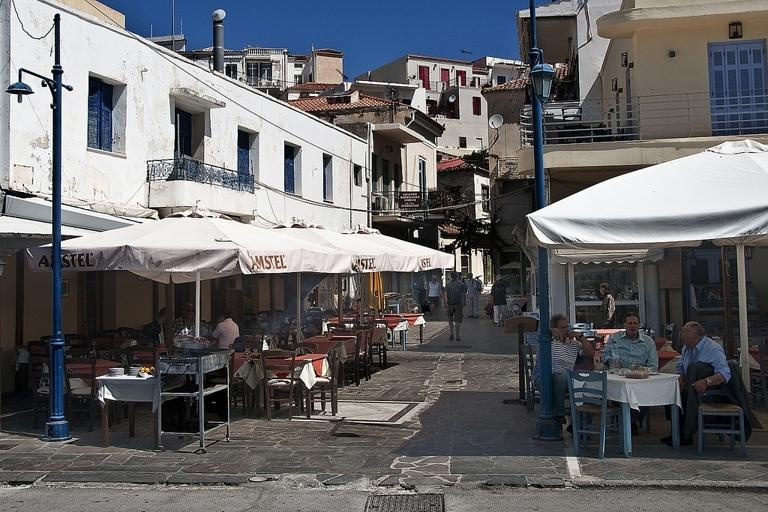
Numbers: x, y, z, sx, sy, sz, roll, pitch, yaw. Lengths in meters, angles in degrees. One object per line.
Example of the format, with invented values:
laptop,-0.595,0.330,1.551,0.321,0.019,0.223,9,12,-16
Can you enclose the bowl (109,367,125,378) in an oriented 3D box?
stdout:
bowl,-4.979,2.163,17.922,0.170,0.148,0.170,0,-7,0

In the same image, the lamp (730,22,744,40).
lamp,9.421,-6.081,26.008,0.380,0.413,0.383,1,5,-2

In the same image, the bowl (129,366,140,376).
bowl,-4.631,2.138,17.856,0.153,0.112,0.152,0,3,0

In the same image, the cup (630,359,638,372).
cup,4.571,2.021,17.553,0.133,0.184,0.134,2,10,0

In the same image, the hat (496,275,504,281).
hat,4.294,0.817,35.890,0.333,0.158,0.472,-4,-3,4

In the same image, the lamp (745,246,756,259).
lamp,9.065,-0.093,23.896,0.283,0.283,0.287,1,1,8
